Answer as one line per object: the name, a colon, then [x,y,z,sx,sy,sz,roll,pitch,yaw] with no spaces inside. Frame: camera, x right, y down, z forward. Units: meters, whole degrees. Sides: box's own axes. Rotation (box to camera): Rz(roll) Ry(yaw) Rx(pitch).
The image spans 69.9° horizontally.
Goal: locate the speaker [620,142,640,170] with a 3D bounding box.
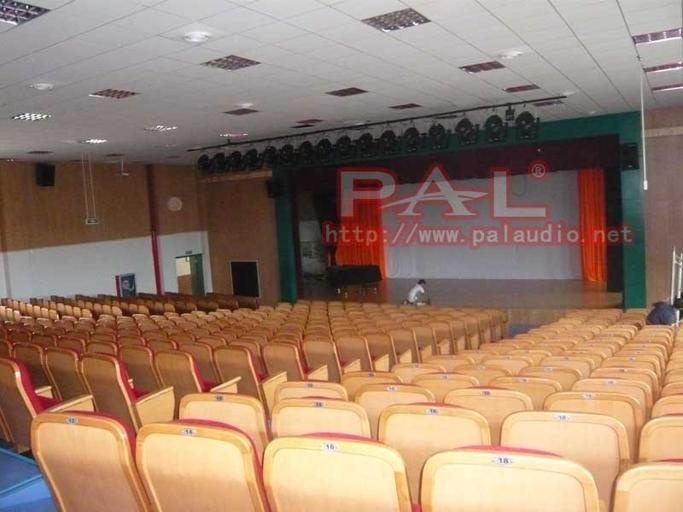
speaker: [7.872,-2.719,13.398,0.460,0.717,0.197,-4,4,26]
